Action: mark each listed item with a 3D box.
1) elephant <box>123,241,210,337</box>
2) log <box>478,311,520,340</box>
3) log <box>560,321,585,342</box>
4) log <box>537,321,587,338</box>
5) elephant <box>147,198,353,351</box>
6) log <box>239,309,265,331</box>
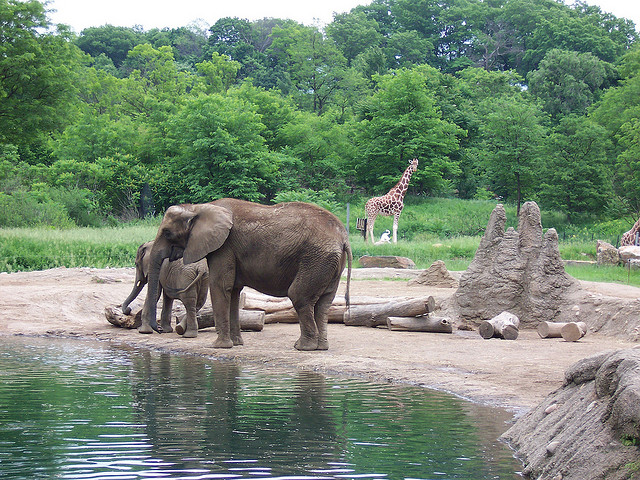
[{"bbox_3d":[-3.704,1.170,19.914,2.945,2.198,1.386,2,-4,40],"label":"elephant"},{"bbox_3d":[4.233,2.024,19.631,0.952,0.549,0.756,2,3,-8],"label":"log"},{"bbox_3d":[5.819,2.114,19.229,0.406,0.409,1.181,-1,-3,15],"label":"log"},{"bbox_3d":[5.766,2.102,19.988,0.405,0.454,1.353,-3,-2,44],"label":"log"},{"bbox_3d":[-1.597,0.735,18.482,4.769,3.249,2.088,3,3,10],"label":"elephant"},{"bbox_3d":[-1.633,1.918,20.263,0.658,0.439,0.395,5,-5,2],"label":"log"}]
